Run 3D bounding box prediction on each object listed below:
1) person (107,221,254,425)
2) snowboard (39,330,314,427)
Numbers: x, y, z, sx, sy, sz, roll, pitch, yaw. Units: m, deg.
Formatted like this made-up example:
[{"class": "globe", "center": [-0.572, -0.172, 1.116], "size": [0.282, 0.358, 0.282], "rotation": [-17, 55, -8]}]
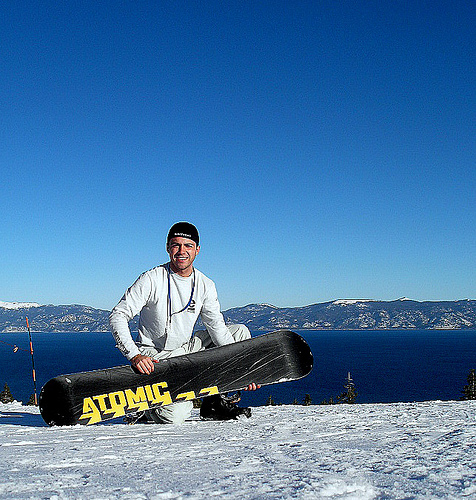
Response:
[{"class": "person", "center": [-0.563, 0.721, 5.544], "size": [1.448, 1.865, 1.178], "rotation": [2, -6, 7]}, {"class": "snowboard", "center": [-0.542, 1.291, 5.709], "size": [2.792, 0.573, 0.350], "rotation": [-6, -7, -28]}]
